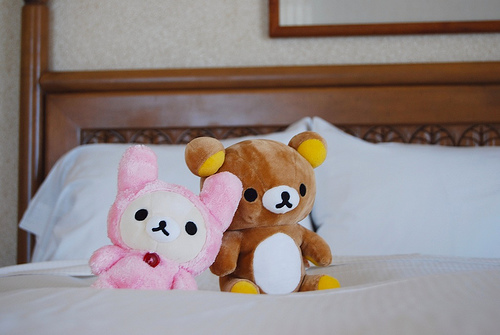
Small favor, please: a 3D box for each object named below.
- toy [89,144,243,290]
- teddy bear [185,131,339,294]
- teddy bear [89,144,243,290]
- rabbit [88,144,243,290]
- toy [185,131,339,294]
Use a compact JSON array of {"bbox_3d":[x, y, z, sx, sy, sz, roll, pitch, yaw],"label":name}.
[{"bbox_3d":[-0.278,0.242,1.916,0.378,0.571,0.294,14,-22,0],"label":"toy"},{"bbox_3d":[0.052,0.172,2.050,0.451,0.611,0.365,-4,-2,-22],"label":"teddy bear"},{"bbox_3d":[-0.274,0.241,1.908,0.390,0.564,0.299,12,-23,2],"label":"teddy bear"},{"bbox_3d":[-0.278,0.241,1.912,0.383,0.567,0.310,12,-24,6],"label":"rabbit"},{"bbox_3d":[0.037,0.163,1.974,0.383,0.559,0.373,-1,7,-15],"label":"toy"}]
